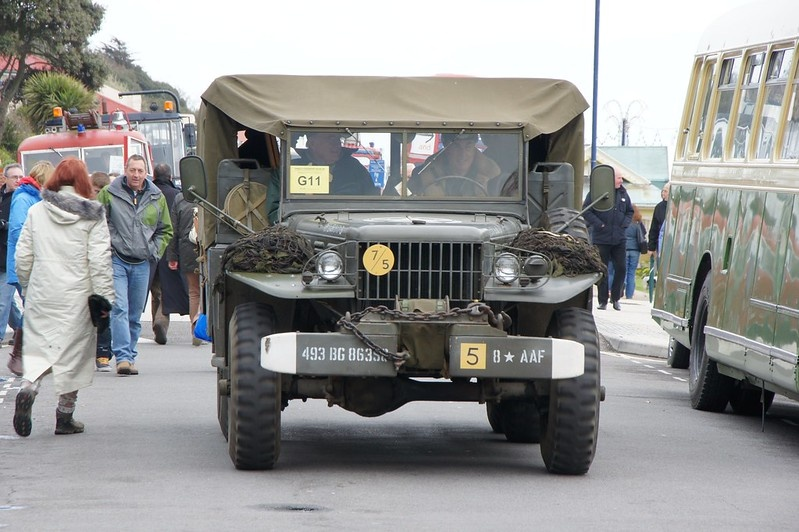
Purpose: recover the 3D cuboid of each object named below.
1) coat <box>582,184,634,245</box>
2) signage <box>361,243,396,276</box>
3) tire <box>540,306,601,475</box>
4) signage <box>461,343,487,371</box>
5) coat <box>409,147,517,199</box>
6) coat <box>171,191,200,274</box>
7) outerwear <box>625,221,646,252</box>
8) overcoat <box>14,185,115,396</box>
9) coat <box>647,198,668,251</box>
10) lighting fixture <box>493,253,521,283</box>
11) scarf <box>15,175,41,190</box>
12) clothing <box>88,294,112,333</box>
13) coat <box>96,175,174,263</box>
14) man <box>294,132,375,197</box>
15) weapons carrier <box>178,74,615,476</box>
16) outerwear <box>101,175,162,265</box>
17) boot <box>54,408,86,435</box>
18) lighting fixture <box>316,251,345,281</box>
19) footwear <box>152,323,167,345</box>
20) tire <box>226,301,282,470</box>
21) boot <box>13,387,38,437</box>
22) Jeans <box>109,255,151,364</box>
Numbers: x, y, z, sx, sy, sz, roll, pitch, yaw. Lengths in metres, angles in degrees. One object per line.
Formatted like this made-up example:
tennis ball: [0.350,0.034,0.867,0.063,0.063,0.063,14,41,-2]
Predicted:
coat: [4.990,-1.212,20.450,1.277,1.465,0.742,-1,8,-18]
signage: [-0.169,-0.041,6.781,0.173,0.192,0.019,23,-5,-9]
tire: [1.342,1.044,6.764,0.463,1.289,0.662,3,7,13]
signage: [0.529,0.663,6.288,0.168,0.179,0.019,1,-7,-9]
coat: [0.599,-0.870,8.047,1.211,0.425,0.392,1,-1,-9]
coat: [-3.788,-0.552,15.393,0.312,1.507,0.586,-32,-32,34]
outerwear: [6.115,-0.741,22.562,0.600,0.679,0.360,8,17,21]
overcoat: [-3.221,0.304,8.289,0.825,2.265,0.642,3,10,-20]
coat: [5.927,-0.921,19.726,0.258,1.137,0.297,6,-32,9]
lighting fixture: [0.838,0.025,6.755,0.195,0.226,0.121,2,7,5]
scarf: [-4.861,-1.082,11.302,0.356,0.154,0.310,5,0,-16]
clothing: [-2.801,0.457,8.131,0.224,0.335,0.127,4,26,1]
coat: [-3.577,-0.618,11.635,1.271,1.382,0.590,6,-9,-44]
man: [-0.626,-0.921,8.142,0.712,0.593,0.207,3,-1,1]
weapons carrier: [-0.104,-0.239,8.502,2.522,2.792,4.472,0,-4,-6]
outerwear: [-3.577,-0.589,11.534,0.993,1.293,0.561,6,-10,-39]
boot: [-3.156,1.519,8.415,0.358,0.277,0.143,-1,4,-28]
lighting fixture: [-0.542,-0.002,6.690,0.207,0.225,0.123,1,7,-7]
footwear: [-4.433,1.258,16.019,0.156,0.534,0.212,-4,19,-12]
tire: [-1.124,0.981,6.741,0.399,1.280,0.581,0,7,-11]
boot: [-3.437,1.329,8.032,0.171,0.538,0.225,4,0,-12]
Jeans: [-3.778,0.529,12.142,0.434,1.974,0.587,-5,-14,18]
